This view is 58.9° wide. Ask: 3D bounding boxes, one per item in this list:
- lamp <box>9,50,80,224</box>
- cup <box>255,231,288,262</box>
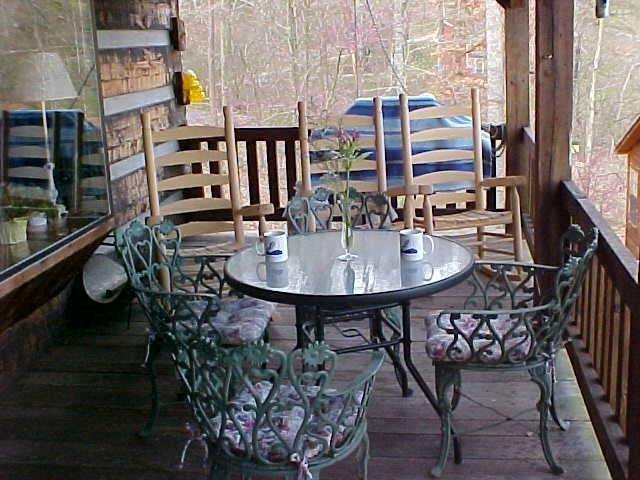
[{"bbox_3d":[-1.224,-0.492,2.513,0.291,0.662,0.294,18,29,24],"label":"lamp"},{"bbox_3d":[-0.210,0.033,2.590,0.175,0.120,0.109,-1,8,1],"label":"cup"}]
